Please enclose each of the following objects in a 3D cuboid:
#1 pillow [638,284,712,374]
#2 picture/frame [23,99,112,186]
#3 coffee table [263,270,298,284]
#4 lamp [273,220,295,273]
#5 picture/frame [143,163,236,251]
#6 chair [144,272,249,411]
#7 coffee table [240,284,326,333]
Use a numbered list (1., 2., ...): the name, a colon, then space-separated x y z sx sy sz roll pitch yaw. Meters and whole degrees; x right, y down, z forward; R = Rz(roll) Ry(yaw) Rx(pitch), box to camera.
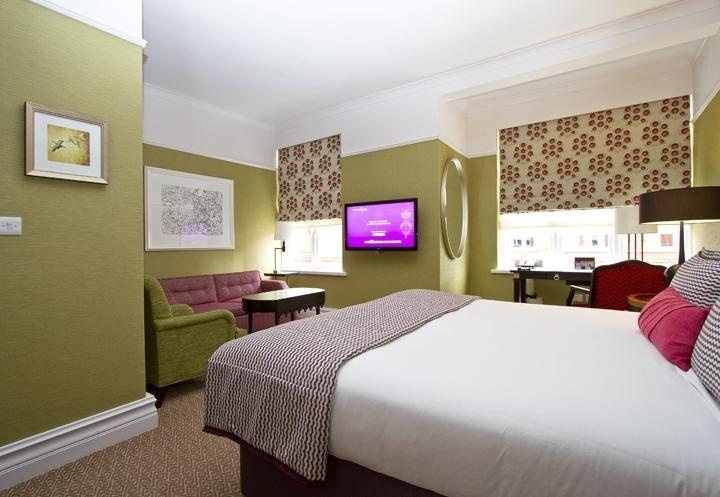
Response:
1. pillow: 1.958 0.372 2.845 0.301 0.316 0.743 -7 4 19
2. picture/frame: -2.159 -0.768 3.296 0.635 0.679 0.042 3 -6 -43
3. coffee table: -1.254 0.433 7.170 0.290 0.303 0.303 5 6 26
4. lamp: -1.250 -0.035 7.222 0.307 0.872 0.806 -5 12 -12
5. picture/frame: -2.362 -0.561 6.136 0.054 1.081 1.261 -2 -2 40
6. chair: -1.675 0.726 4.389 0.779 1.119 0.996 9 9 41
7. coffee table: -0.688 0.745 5.259 0.661 0.348 0.274 -9 -9 -15
